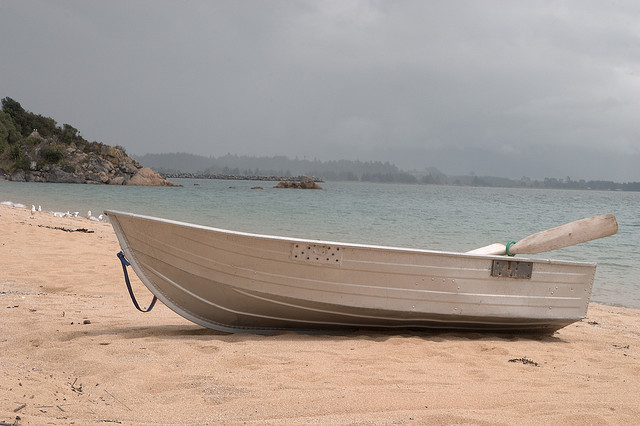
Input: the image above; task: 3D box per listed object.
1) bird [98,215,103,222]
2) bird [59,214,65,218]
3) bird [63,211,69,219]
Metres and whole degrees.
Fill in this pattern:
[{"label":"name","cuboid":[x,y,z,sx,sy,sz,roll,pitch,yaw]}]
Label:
[{"label":"bird","cuboid":[-7.530,0.195,20.185,0.234,0.275,0.704,1,2,-23]},{"label":"bird","cuboid":[-8.740,0.120,19.948,0.139,0.077,0.482,18,-4,-15]},{"label":"bird","cuboid":[-8.853,0.076,20.583,0.241,0.212,0.060,14,-49,-22]}]
